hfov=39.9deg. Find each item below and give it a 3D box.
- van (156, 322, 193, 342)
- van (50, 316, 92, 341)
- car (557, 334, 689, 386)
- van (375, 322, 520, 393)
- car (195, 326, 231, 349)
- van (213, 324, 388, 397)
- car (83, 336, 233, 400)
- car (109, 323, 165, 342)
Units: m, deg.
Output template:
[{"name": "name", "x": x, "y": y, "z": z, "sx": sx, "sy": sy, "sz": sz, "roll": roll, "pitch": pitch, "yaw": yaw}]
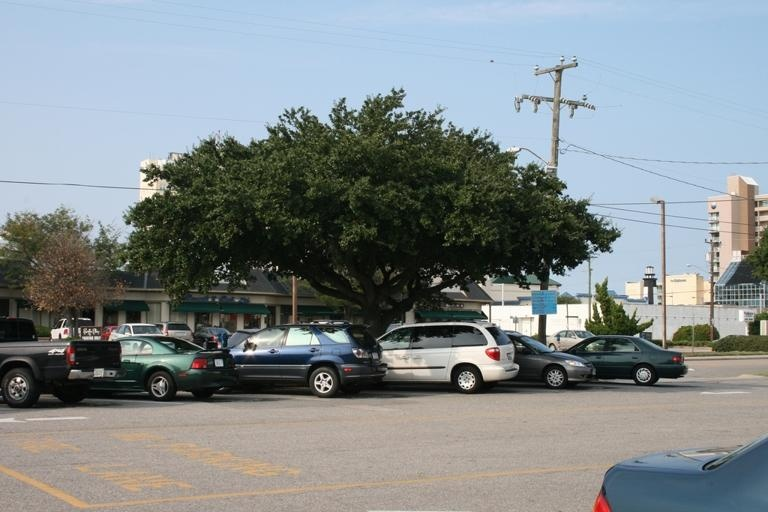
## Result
[{"name": "van", "x": -9.601, "y": 3.437, "z": 48.422, "sx": 1.557, "sy": 1.265, "sz": 2.557, "roll": 0, "pitch": 5, "yaw": -20}, {"name": "van", "x": -17.541, "y": 4.047, "z": 59.443, "sx": 2.149, "sy": 1.448, "sz": 3.564, "roll": 1, "pitch": 1, "yaw": -44}, {"name": "car", "x": 8.384, "y": 3.674, "z": 36.659, "sx": 4.338, "sy": 1.289, "sz": 1.799, "roll": 1, "pitch": -2, "yaw": 26}, {"name": "van", "x": 1.995, "y": 3.091, "z": 33.233, "sx": 4.078, "sy": 1.434, "sz": 2.155, "roll": 1, "pitch": -2, "yaw": 23}, {"name": "car", "x": -8.394, "y": 3.971, "z": 51.759, "sx": 1.379, "sy": 0.958, "sz": 2.987, "roll": 0, "pitch": 4, "yaw": -37}, {"name": "van", "x": -2.244, "y": 3.035, "z": 31.847, "sx": 4.413, "sy": 1.503, "sz": 2.151, "roll": 0, "pitch": -3, "yaw": 21}, {"name": "car", "x": -6.516, "y": 3.190, "z": 30.208, "sx": 3.874, "sy": 1.216, "sz": 1.773, "roll": 2, "pitch": -3, "yaw": 20}, {"name": "car", "x": -10.412, "y": 3.185, "z": 44.705, "sx": 1.273, "sy": 0.927, "sz": 2.672, "roll": 3, "pitch": -9, "yaw": -39}]
